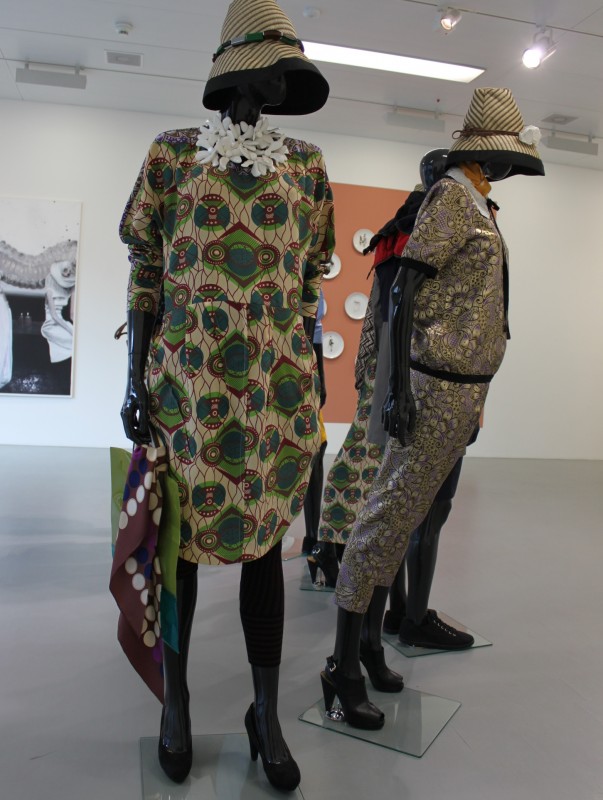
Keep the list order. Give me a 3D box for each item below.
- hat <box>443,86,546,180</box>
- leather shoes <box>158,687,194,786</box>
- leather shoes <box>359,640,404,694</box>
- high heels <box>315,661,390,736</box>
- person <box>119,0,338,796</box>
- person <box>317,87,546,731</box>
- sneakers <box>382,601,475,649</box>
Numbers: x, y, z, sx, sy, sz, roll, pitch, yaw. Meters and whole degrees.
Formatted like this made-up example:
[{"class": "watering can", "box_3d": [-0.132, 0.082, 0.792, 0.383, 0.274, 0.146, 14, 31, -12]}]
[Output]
[{"class": "hat", "box_3d": [0.531, -0.738, 2.128, 0.277, 0.202, 0.275, -2, 8, -7]}, {"class": "leather shoes", "box_3d": [-0.275, 0.737, 1.644, 0.070, 0.202, 0.082, -1, -33, -7]}, {"class": "leather shoes", "box_3d": [0.216, 0.766, 2.147, 0.075, 0.084, 0.207, 3, 4, -30]}, {"class": "high heels", "box_3d": [0.126, 0.781, 1.925, 0.088, 0.146, 0.238, 12, -10, -41]}, {"class": "person", "box_3d": [-0.184, -0.010, 1.661, 0.480, 1.690, 0.323, 4, 4, -3]}, {"class": "person", "box_3d": [0.357, -0.016, 2.020, 0.506, 1.712, 0.279, 2, 4, -33]}, {"class": "sneakers", "box_3d": [0.418, 0.760, 2.522, 0.361, 0.132, 0.113, 2, 4, 0]}]
